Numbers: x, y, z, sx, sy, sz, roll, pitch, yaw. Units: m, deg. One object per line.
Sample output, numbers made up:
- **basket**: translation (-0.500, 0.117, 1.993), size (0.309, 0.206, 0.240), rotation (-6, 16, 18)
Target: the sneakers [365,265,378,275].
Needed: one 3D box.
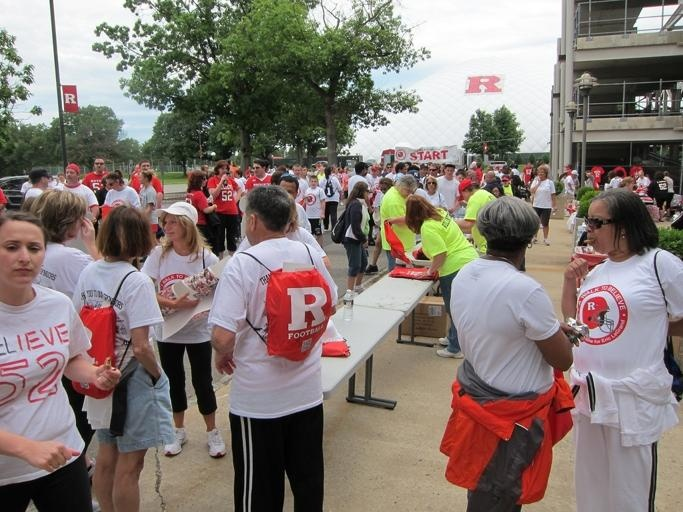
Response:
- **sneakers**: translation (0.542, 0.240, 11.372), size (0.281, 0.126, 0.101), rotation (2, -4, -43)

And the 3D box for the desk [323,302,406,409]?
- **desk**: translation (0.182, 0.759, 5.326), size (0.697, 0.398, 1.551), rotation (1, 12, 13)

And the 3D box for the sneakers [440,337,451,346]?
- **sneakers**: translation (1.247, 1.019, 7.504), size (0.117, 0.054, 0.067), rotation (3, 1, -30)

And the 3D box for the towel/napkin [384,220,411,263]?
- **towel/napkin**: translation (0.643, -0.240, 8.037), size (0.207, 0.504, 0.150), rotation (-17, -26, 4)

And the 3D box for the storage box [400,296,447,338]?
- **storage box**: translation (1.032, 0.763, 7.771), size (0.500, 0.393, 0.499), rotation (5, 6, 22)

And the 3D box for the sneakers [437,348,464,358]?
- **sneakers**: translation (1.251, 1.097, 7.158), size (0.284, 0.146, 0.108), rotation (7, 0, 12)

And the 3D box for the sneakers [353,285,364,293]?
- **sneakers**: translation (0.287, 0.506, 9.779), size (0.064, 0.086, 0.192), rotation (14, 20, 30)

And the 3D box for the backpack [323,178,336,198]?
- **backpack**: translation (-0.255, -1.605, 14.707), size (0.275, 0.440, 0.441), rotation (-1, 5, 6)

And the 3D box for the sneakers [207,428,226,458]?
- **sneakers**: translation (-1.005, 1.509, 5.062), size (0.103, 0.112, 0.252), rotation (-1, -1, -21)

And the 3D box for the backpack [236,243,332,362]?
- **backpack**: translation (-0.260, 0.208, 3.872), size (0.490, 0.644, 0.616), rotation (-10, 24, -40)

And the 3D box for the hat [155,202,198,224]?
- **hat**: translation (-1.283, -0.391, 5.006), size (0.176, 0.130, 0.244), rotation (3, -19, 30)
